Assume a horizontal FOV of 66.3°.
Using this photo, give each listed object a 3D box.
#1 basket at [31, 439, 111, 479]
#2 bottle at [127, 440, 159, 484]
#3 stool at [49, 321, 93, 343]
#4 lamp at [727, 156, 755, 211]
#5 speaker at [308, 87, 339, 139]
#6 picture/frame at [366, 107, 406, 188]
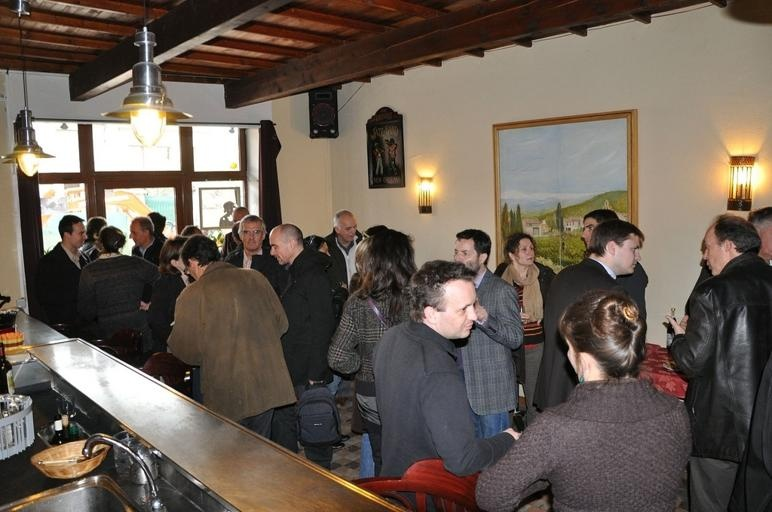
[{"bbox_3d":[-1.674,1.084,3.109,0.299,0.109,0.296,3,16,22],"label":"basket"},{"bbox_3d":[-1.214,1.032,2.959,0.050,0.209,0.147,-24,2,38],"label":"bottle"},{"bbox_3d":[-2.747,0.665,5.182,0.228,0.299,0.218,0,-2,39],"label":"stool"},{"bbox_3d":[3.272,-0.664,5.429,0.218,0.518,0.095,0,7,31],"label":"lamp"},{"bbox_3d":[-0.889,-2.099,8.674,0.440,0.704,0.295,-4,6,-8],"label":"speaker"},{"bbox_3d":[0.013,-1.485,8.157,0.096,1.098,0.653,-9,8,-44],"label":"picture/frame"}]
